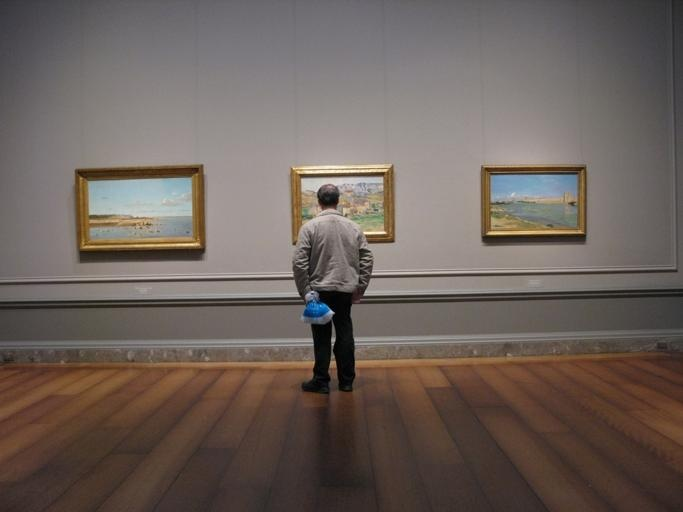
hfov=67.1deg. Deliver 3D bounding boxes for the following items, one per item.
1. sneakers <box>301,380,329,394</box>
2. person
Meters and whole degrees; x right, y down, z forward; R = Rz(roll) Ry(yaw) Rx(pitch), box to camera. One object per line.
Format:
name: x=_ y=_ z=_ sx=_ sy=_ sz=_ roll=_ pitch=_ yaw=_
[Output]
sneakers: x=-0.270 y=1.359 z=5.443 sx=0.271 sy=0.142 sz=0.124 roll=7 pitch=3 yaw=16
person: x=-0.086 y=0.327 z=5.421 sx=0.567 sy=2.115 sz=0.699 roll=8 pitch=14 yaw=39
